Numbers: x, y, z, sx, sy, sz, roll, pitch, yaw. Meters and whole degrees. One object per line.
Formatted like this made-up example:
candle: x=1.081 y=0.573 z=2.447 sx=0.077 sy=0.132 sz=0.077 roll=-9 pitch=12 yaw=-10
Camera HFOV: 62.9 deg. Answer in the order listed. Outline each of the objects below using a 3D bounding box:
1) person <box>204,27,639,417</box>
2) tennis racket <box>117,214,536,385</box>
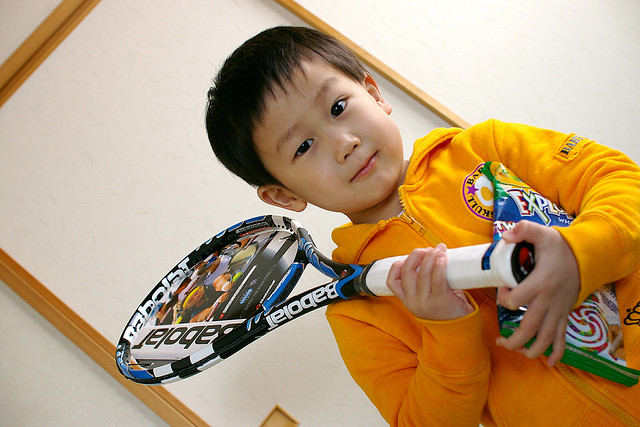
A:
person: x=0.246 y=0.056 z=1.394 sx=0.523 sy=1.086 sz=0.446 roll=-54 pitch=-31 yaw=-14
tennis racket: x=-0.031 y=0.163 z=1.307 sx=1.156 sy=0.098 sz=0.503 roll=-11 pitch=33 yaw=33
